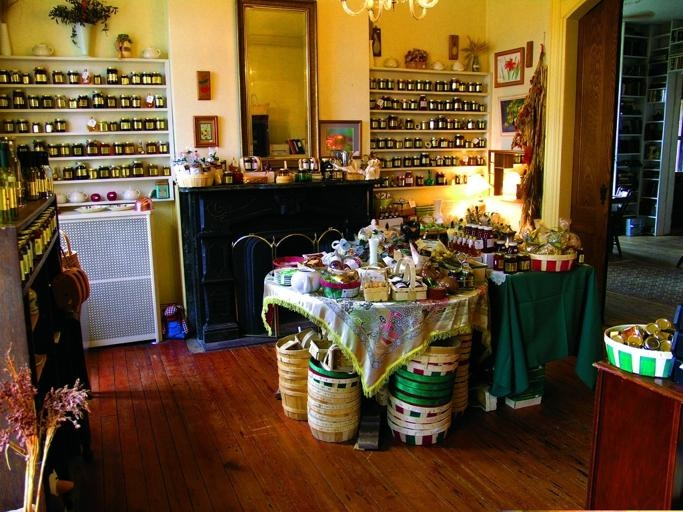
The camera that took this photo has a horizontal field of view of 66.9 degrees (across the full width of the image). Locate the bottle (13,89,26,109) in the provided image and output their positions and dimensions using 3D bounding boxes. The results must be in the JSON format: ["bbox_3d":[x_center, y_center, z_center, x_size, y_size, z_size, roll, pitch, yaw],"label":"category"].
[{"bbox_3d":[-3.124,-1.526,5.020,0.133,0.179,0.097,-9,15,-31],"label":"bottle"}]

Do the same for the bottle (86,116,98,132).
[{"bbox_3d":[-2.533,-1.346,5.265,0.117,0.141,0.137,-8,15,-27],"label":"bottle"}]

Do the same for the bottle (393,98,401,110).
[{"bbox_3d":[0.693,-1.903,6.453,0.121,0.133,0.099,-7,14,-24],"label":"bottle"}]

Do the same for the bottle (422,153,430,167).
[{"bbox_3d":[1.105,-1.247,6.685,0.126,0.169,0.100,-2,13,-5],"label":"bottle"}]

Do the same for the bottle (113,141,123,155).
[{"bbox_3d":[-2.295,-1.121,5.341,0.105,0.205,0.111,3,5,0],"label":"bottle"}]

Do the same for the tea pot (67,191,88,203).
[{"bbox_3d":[-2.666,-0.603,5.235,0.142,0.104,0.108,3,5,0],"label":"tea pot"}]

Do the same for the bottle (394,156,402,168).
[{"bbox_3d":[0.723,-1.191,6.548,0.113,0.129,0.112,-4,6,-41],"label":"bottle"}]

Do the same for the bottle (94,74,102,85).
[{"bbox_3d":[-2.452,-1.794,5.214,0.091,0.100,0.106,-7,15,-24],"label":"bottle"}]

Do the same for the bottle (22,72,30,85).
[{"bbox_3d":[-3.044,-1.714,4.999,0.074,0.112,0.131,-6,14,-22],"label":"bottle"}]

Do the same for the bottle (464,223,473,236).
[{"bbox_3d":[1.010,-0.210,4.056,0.056,0.082,0.096,1,14,9],"label":"bottle"}]

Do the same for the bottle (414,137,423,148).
[{"bbox_3d":[0.998,-1.455,6.621,0.113,0.122,0.115,2,2,-19],"label":"bottle"}]

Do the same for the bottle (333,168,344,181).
[{"bbox_3d":[-0.027,-0.849,5.360,0.113,0.137,0.118,0,2,-6],"label":"bottle"}]

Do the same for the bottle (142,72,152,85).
[{"bbox_3d":[-1.983,-1.817,5.283,0.102,0.116,0.101,-3,6,-39],"label":"bottle"}]

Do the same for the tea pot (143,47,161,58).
[{"bbox_3d":[-1.912,-2.047,5.211,0.134,0.099,0.105,1,7,-5],"label":"tea pot"}]

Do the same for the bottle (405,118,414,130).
[{"bbox_3d":[0.871,-1.676,6.536,0.128,0.148,0.130,-5,10,-27],"label":"bottle"}]

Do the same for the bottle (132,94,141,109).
[{"bbox_3d":[-2.091,-1.591,5.303,0.067,0.121,0.118,10,17,40],"label":"bottle"}]

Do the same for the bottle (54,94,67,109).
[{"bbox_3d":[-2.785,-1.538,5.142,0.096,0.141,0.134,2,2,33],"label":"bottle"}]

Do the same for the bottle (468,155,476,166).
[{"bbox_3d":[1.770,-1.285,6.956,0.107,0.140,0.111,1,12,0],"label":"bottle"}]

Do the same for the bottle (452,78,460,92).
[{"bbox_3d":[1.492,-2.214,6.684,0.112,0.151,0.066,0,13,3],"label":"bottle"}]

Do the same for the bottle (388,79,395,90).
[{"bbox_3d":[0.624,-2.117,6.359,0.116,0.119,0.036,-11,16,-35],"label":"bottle"}]

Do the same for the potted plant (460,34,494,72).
[{"bbox_3d":[1.785,-2.656,6.800,0.359,0.438,0.168,-8,14,-27],"label":"potted plant"}]

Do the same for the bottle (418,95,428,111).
[{"bbox_3d":[1.059,-1.949,6.566,0.111,0.189,0.088,-1,13,-1],"label":"bottle"}]

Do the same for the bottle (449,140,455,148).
[{"bbox_3d":[1.458,-1.477,6.795,0.090,0.111,0.094,1,10,6],"label":"bottle"}]

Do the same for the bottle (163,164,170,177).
[{"bbox_3d":[-1.864,-0.914,5.529,0.090,0.107,0.094,0,3,-2],"label":"bottle"}]

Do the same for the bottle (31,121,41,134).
[{"bbox_3d":[-3.003,-1.269,5.092,0.104,0.109,0.098,-6,14,-19],"label":"bottle"}]

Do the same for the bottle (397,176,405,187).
[{"bbox_3d":[0.783,-0.958,6.620,0.104,0.199,0.106,0,11,0],"label":"bottle"}]

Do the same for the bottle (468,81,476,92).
[{"bbox_3d":[1.712,-2.215,6.750,0.099,0.173,0.104,2,7,0],"label":"bottle"}]

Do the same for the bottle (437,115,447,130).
[{"bbox_3d":[1.306,-1.720,6.649,0.150,0.168,0.071,-7,14,-26],"label":"bottle"}]

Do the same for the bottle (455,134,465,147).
[{"bbox_3d":[1.573,-1.529,6.829,0.102,0.172,0.157,-6,10,-29],"label":"bottle"}]

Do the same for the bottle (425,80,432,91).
[{"bbox_3d":[1.116,-2.179,6.591,0.123,0.129,0.070,-11,17,-37],"label":"bottle"}]

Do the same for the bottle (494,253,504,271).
[{"bbox_3d":[1.131,0.038,3.673,0.068,0.116,0.037,5,14,24],"label":"bottle"}]

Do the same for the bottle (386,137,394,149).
[{"bbox_3d":[0.623,-1.417,6.434,0.107,0.144,0.112,0,2,0],"label":"bottle"}]

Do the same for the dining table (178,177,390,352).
[{"bbox_3d":[-0.538,0.001,5.302,1.861,1.491,0.527,-6,14,-21],"label":"dining table"}]

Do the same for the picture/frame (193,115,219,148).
[{"bbox_3d":[-1.368,-1.269,5.200,0.285,0.375,0.038,-4,10,-25],"label":"picture/frame"}]

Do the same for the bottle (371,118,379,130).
[{"bbox_3d":[0.423,-1.634,6.352,0.111,0.136,0.115,-1,6,-10],"label":"bottle"}]

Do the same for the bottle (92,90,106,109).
[{"bbox_3d":[-2.451,-1.579,5.235,0.129,0.164,0.116,-7,14,-24],"label":"bottle"}]

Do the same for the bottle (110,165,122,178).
[{"bbox_3d":[-2.323,-0.871,5.325,0.105,0.106,0.106,-5,13,-32],"label":"bottle"}]

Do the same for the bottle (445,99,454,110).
[{"bbox_3d":[1.414,-1.957,6.705,0.117,0.142,0.121,-1,2,-16],"label":"bottle"}]

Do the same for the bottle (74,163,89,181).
[{"bbox_3d":[-2.651,-0.868,5.274,0.144,0.158,0.113,-10,16,-33],"label":"bottle"}]

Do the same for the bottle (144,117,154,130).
[{"bbox_3d":[-1.993,-1.380,5.385,0.098,0.145,0.136,-5,16,-22],"label":"bottle"}]

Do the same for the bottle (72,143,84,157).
[{"bbox_3d":[-2.663,-1.079,5.236,0.124,0.105,0.066,-7,14,-23],"label":"bottle"}]
